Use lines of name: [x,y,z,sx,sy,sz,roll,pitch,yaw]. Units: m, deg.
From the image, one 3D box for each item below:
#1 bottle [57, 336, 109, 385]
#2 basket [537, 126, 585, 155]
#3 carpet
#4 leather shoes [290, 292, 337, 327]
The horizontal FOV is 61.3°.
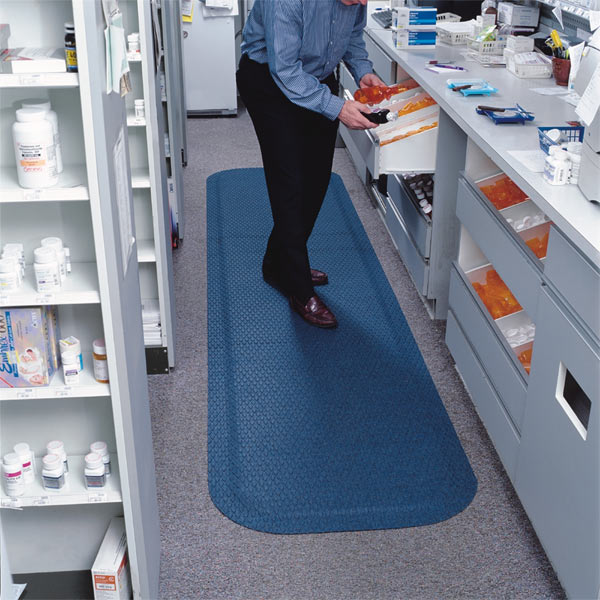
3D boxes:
bottle: [-0.450,0.127,1.101,0.098,0.101,0.102,-1,17,-5]
basket: [0.840,-0.531,1.613,0.125,0.082,0.134,-3,28,9]
carpet: [-0.058,-0.037,2.678,0.863,0.017,2.641,-3,42,-7]
leather shoes: [0.072,0.059,2.688,0.121,0.102,0.259,-31,52,-32]
